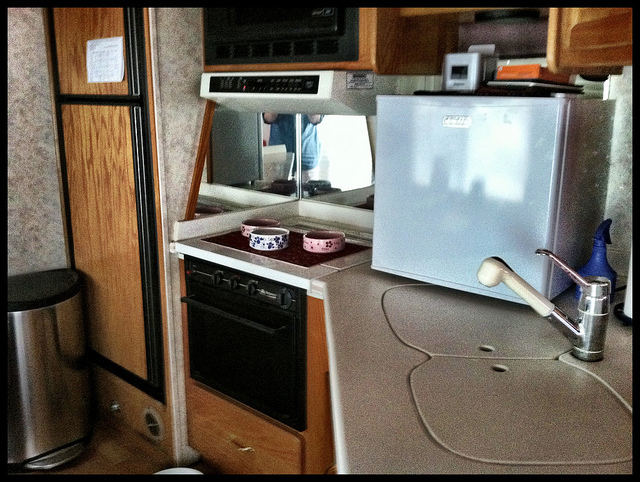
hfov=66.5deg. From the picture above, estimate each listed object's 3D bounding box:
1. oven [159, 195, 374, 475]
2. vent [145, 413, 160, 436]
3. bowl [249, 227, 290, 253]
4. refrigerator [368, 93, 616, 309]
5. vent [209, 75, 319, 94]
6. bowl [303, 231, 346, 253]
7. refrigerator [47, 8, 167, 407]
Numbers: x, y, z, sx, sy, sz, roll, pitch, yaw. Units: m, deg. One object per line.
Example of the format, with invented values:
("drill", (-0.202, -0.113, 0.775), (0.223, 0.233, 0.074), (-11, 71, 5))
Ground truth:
("oven", (-0.278, 0.526, 2.141), (0.925, 1.194, 0.515), (12, 22, 36))
("vent", (-0.819, 0.900, 2.390), (0.027, 0.110, 0.107), (-15, 60, -37))
("bowl", (-0.214, -0.007, 2.033), (0.157, 0.070, 0.148), (-1, 16, 0))
("refrigerator", (0.573, -0.184, 1.665), (0.619, 0.607, 0.468), (13, 22, 40))
("vent", (-0.217, -0.607, 1.901), (0.497, 0.074, 0.043), (8, 20, 29))
("bowl", (0.015, 0.003, 2.014), (0.152, 0.060, 0.163), (-1, 16, 0))
("refrigerator", (-0.856, -0.188, 2.399), (0.365, 1.996, 0.549), (-13, 20, -43))
